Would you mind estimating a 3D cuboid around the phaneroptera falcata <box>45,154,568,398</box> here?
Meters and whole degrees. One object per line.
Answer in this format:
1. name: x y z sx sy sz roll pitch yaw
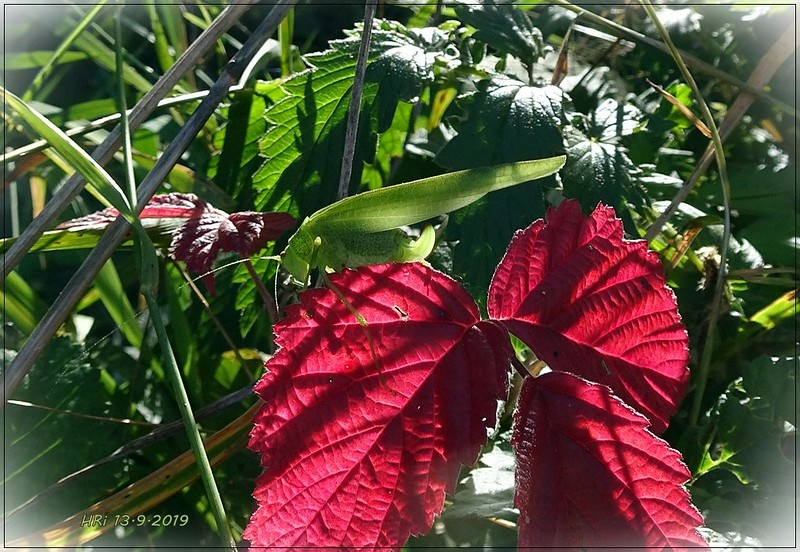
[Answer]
1. phaneroptera falcata: -0.077 -0.014 0.950 0.569 0.212 0.218 0 9 15
